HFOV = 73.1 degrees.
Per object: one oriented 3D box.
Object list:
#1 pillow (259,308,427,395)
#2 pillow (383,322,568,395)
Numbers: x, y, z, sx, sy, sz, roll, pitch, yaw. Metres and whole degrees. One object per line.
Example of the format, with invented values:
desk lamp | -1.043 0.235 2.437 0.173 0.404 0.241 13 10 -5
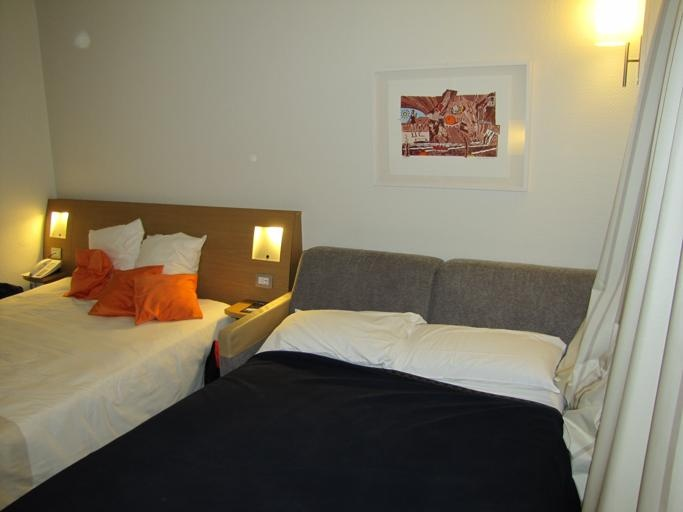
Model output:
pillow | -0.013 0.570 2.769 0.621 0.156 0.441 4 39 18
pillow | 0.703 0.522 2.413 0.634 0.117 0.399 1 30 21
